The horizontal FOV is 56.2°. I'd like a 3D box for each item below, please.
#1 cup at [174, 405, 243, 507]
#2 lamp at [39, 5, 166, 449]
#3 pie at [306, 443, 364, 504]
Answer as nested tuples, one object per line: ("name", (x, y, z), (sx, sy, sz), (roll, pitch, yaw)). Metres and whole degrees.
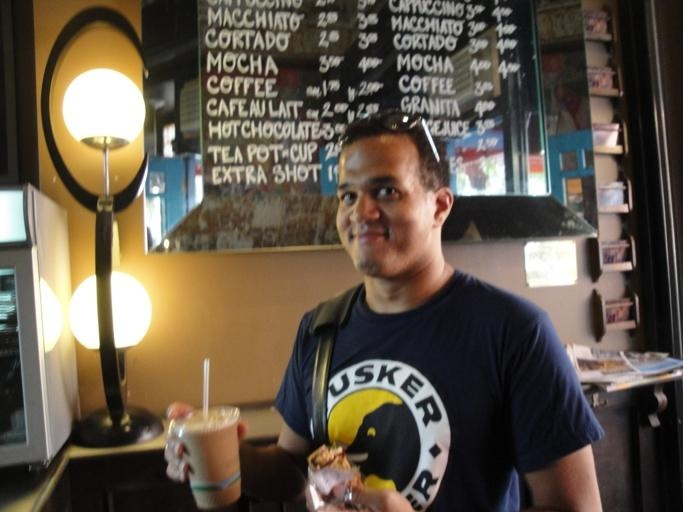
("cup", (-0.446, 0.670, 2.137), (0.234, 0.335, 0.160), (-6, 1, -18))
("lamp", (-0.975, -0.146, 2.595), (0.442, 1.952, 0.415), (-5, 1, -17))
("pie", (-0.030, 0.673, 1.956), (0.127, 0.193, 0.074), (4, -20, 13))
